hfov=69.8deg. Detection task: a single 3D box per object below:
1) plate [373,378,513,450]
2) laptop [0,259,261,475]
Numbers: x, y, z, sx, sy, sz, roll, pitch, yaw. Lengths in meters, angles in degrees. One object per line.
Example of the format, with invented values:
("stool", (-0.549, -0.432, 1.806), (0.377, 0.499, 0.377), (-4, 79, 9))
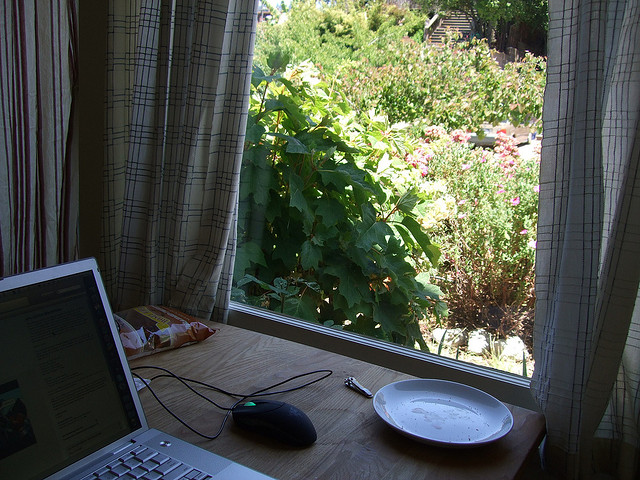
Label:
("plate", (0.278, 0.366, 0.977), (0.268, 0.041, 0.282), (3, 8, 21))
("laptop", (-0.341, 0.232, 0.794), (0.256, 0.393, 0.351), (-6, 3, 32))
